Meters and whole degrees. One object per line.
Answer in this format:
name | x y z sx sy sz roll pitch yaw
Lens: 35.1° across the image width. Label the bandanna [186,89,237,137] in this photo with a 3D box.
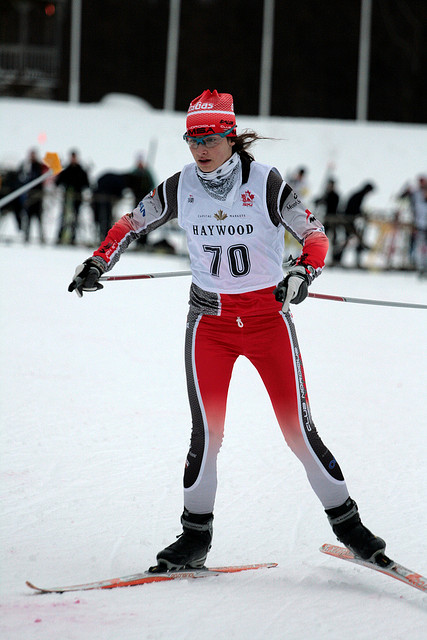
bandanna | -0.020 -0.622 2.111 0.143 0.162 0.150 8 15 27
